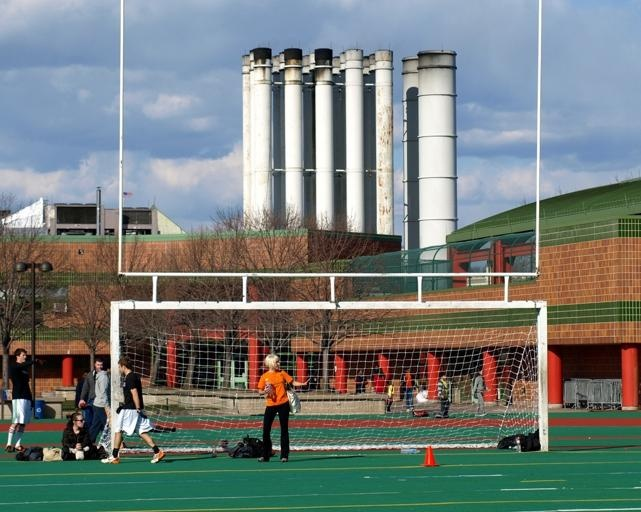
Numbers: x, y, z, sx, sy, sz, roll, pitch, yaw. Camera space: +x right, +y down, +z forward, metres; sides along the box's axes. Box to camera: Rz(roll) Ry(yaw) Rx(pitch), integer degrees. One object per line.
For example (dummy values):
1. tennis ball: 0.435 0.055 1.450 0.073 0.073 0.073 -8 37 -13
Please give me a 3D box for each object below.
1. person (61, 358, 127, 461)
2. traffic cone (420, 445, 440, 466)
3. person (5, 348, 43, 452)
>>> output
1. person: -5.940 4.019 37.285 0.876 2.545 1.005 -2 -8 13
2. traffic cone: 2.734 4.970 35.182 0.359 0.530 0.840 -2 -8 4
3. person: -8.105 3.805 37.530 0.904 3.226 1.081 -6 -2 24
